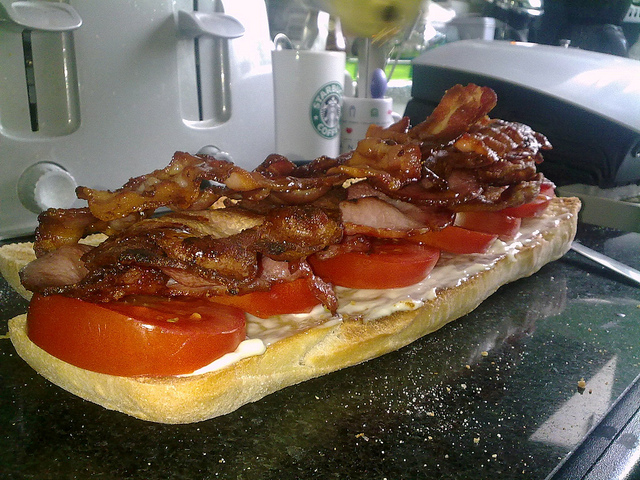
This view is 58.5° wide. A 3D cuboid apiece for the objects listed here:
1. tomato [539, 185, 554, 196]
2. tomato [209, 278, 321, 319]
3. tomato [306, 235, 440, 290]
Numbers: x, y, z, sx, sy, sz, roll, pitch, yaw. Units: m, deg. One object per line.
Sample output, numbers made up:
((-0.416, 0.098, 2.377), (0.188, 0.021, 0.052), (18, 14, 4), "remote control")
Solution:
((0.726, -0.161, 1.841), (0.051, 0.024, 0.040), (1, -3, -4), "tomato")
((-0.161, 0.136, 1.378), (0.247, 0.047, 0.226), (18, -27, -41), "tomato")
((0.140, 0.063, 1.460), (0.248, 0.050, 0.208), (-3, 6, 19), "tomato")
